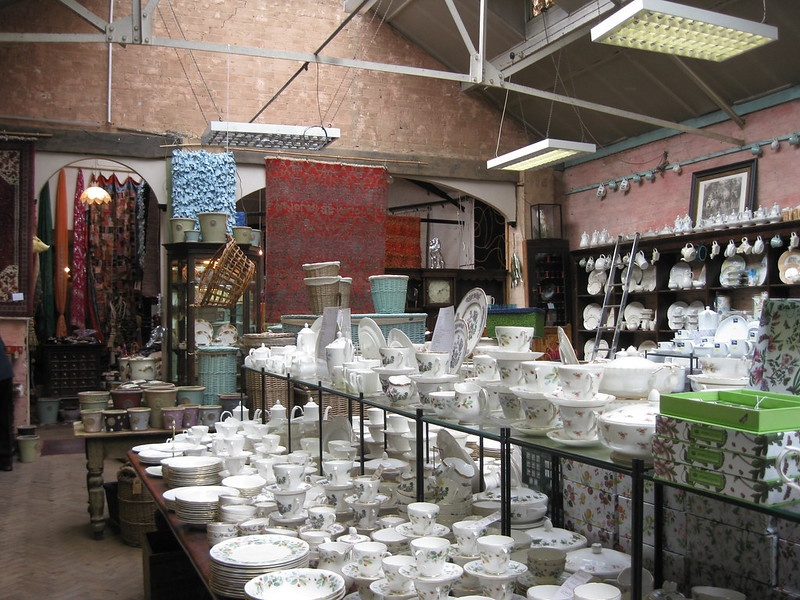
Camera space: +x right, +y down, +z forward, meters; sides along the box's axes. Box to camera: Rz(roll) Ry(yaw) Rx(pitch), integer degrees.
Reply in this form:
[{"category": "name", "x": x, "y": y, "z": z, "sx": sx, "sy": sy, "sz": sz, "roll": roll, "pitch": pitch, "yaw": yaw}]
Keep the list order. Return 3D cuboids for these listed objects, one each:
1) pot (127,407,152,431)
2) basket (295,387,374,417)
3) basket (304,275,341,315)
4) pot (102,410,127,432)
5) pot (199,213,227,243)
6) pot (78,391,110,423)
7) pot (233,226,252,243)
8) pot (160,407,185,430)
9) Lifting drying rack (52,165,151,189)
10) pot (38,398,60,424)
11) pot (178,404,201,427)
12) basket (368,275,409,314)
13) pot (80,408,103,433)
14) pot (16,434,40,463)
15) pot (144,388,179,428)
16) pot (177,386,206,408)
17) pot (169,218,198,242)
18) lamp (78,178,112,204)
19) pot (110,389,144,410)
[{"category": "pot", "x": -2.042, "y": 0.929, "z": 5.181, "sx": 0.170, "sy": 0.124, "sz": 0.165, "roll": 1, "pitch": -1, "yaw": 0}, {"category": "basket", "x": -0.583, "y": 0.768, "z": 5.064, "sx": 0.648, "sy": 0.253, "sz": 0.405, "roll": 7, "pitch": -7, "yaw": -31}, {"category": "basket", "x": -0.651, "y": -0.048, "z": 5.691, "sx": 0.343, "sy": 0.286, "sz": 0.338, "roll": 0, "pitch": 1, "yaw": -5}, {"category": "pot", "x": -2.225, "y": 0.945, "z": 5.169, "sx": 0.165, "sy": 0.120, "sz": 0.162, "roll": 0, "pitch": -7, "yaw": 0}, {"category": "pot", "x": -2.038, "y": -0.788, "z": 7.257, "sx": 0.342, "sy": 0.249, "sz": 0.318, "roll": 0, "pitch": -1, "yaw": 0}, {"category": "pot", "x": -2.539, "y": 0.859, "z": 5.413, "sx": 0.282, "sy": 0.209, "sz": 0.275, "roll": 2, "pitch": 0, "yaw": 0}, {"category": "pot", "x": -1.808, "y": -0.753, "z": 7.527, "sx": 0.195, "sy": 0.146, "sz": 0.196, "roll": 1, "pitch": 3, "yaw": 0}, {"category": "pot", "x": -1.801, "y": 0.935, "z": 5.232, "sx": 0.166, "sy": 0.122, "sz": 0.162, "roll": 1, "pitch": -2, "yaw": 0}, {"category": "Lifting drying rack", "x": -5.020, "y": -2.192, "z": 11.229, "sx": 1.190, "sy": 0.391, "sz": 0.866, "roll": 0, "pitch": 0, "yaw": -23}, {"category": "pot", "x": -5.108, "y": 1.620, "z": 9.721, "sx": 0.351, "sy": 0.344, "sz": 0.338, "roll": 4, "pitch": -2, "yaw": 0}, {"category": "pot", "x": -1.693, "y": 0.935, "z": 5.295, "sx": 0.156, "sy": 0.117, "sz": 0.152, "roll": 0, "pitch": -6, "yaw": 0}, {"category": "basket", "x": -0.070, "y": -0.056, "z": 5.448, "sx": 0.324, "sy": 0.235, "sz": 0.314, "roll": -1, "pitch": 2, "yaw": -26}, {"category": "pot", "x": -2.372, "y": 0.927, "z": 5.094, "sx": 0.177, "sy": 0.128, "sz": 0.167, "roll": 2, "pitch": -1, "yaw": 0}, {"category": "pot", "x": -4.174, "y": 1.702, "z": 7.508, "sx": 0.280, "sy": 0.238, "sz": 0.274, "roll": 0, "pitch": -6, "yaw": 0}, {"category": "pot", "x": -1.935, "y": 0.867, "z": 5.314, "sx": 0.293, "sy": 0.305, "sz": 0.298, "roll": 0, "pitch": -9, "yaw": 0}, {"category": "pot", "x": -1.824, "y": 0.832, "z": 5.786, "sx": 0.212, "sy": 0.134, "sz": 0.206, "roll": 2, "pitch": 0, "yaw": 0}, {"category": "pot", "x": -2.365, "y": -0.775, "z": 7.221, "sx": 0.288, "sy": 0.208, "sz": 0.280, "roll": 1, "pitch": -3, "yaw": 0}, {"category": "lamp", "x": -4.858, "y": -1.691, "z": 10.591, "sx": 0.482, "sy": 0.282, "sz": 0.469, "roll": 1, "pitch": 0, "yaw": -4}, {"category": "pot", "x": -2.238, "y": 0.804, "z": 5.403, "sx": 0.194, "sy": 0.124, "sz": 0.187, "roll": 0, "pitch": -6, "yaw": 0}]
